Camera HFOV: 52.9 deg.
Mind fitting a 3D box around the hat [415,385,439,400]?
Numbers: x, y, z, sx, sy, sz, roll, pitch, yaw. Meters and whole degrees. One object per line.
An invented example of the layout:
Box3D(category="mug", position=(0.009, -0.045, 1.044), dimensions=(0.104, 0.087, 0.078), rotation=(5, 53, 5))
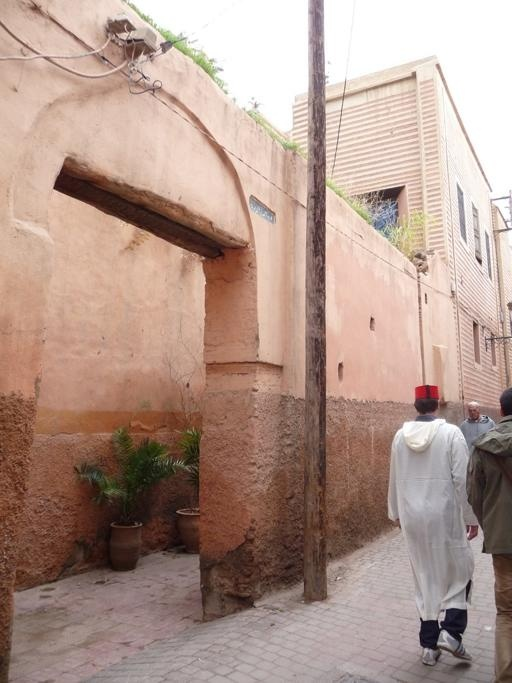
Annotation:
Box3D(category="hat", position=(1.227, 0.368, 3.718), dimensions=(0.117, 0.092, 0.130), rotation=(-2, -6, 0))

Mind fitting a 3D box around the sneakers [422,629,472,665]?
Box3D(category="sneakers", position=(1.130, 1.825, 2.971), dimensions=(0.133, 0.186, 0.412), rotation=(-10, -41, 47))

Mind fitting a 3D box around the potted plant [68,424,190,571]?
Box3D(category="potted plant", position=(-1.420, 1.860, 6.133), dimensions=(0.712, 1.613, 1.454), rotation=(-6, -13, 23))

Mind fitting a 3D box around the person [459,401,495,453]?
Box3D(category="person", position=(3.082, 1.328, 7.110), dimensions=(0.521, 0.928, 0.273), rotation=(-8, -47, 25))
